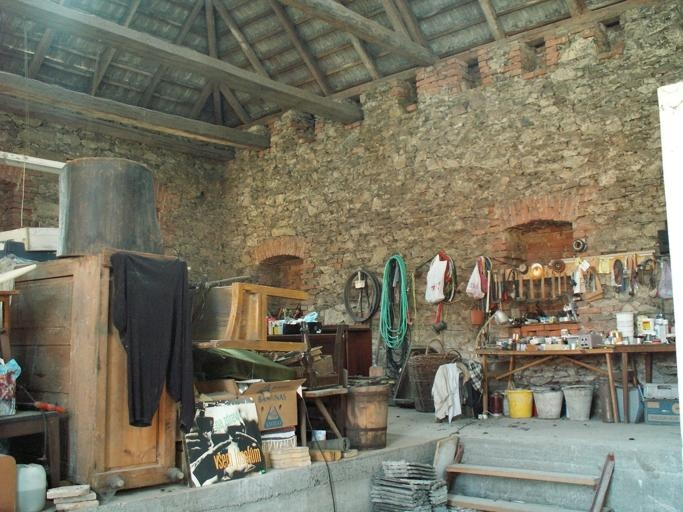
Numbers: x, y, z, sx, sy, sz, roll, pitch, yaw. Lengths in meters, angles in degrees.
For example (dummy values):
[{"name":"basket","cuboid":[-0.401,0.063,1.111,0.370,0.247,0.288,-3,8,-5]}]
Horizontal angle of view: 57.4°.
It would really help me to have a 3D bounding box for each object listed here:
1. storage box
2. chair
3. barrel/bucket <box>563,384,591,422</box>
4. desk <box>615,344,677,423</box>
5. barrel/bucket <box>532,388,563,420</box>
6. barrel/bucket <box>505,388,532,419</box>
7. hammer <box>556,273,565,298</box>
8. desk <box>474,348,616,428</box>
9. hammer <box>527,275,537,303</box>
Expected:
[{"name":"storage box","cuboid":[-0.727,1.208,5.225,0.629,0.274,0.541,4,-8,-45]},{"name":"chair","cuboid":[-0.848,0.519,5.263,0.725,0.330,0.733,-1,-3,41]},{"name":"barrel/bucket","cuboid":[2.625,1.625,6.936,0.363,0.338,0.370,1,-5,0]},{"name":"desk","cuboid":[3.279,1.356,6.778,0.616,0.845,0.479,-2,-8,25]},{"name":"barrel/bucket","cuboid":[2.343,1.661,7.093,0.355,0.257,0.345,0,-6,0]},{"name":"barrel/bucket","cuboid":[2.061,1.707,7.209,0.326,0.227,0.303,-1,-7,0]},{"name":"hammer","cuboid":[2.660,0.351,7.573,0.133,0.262,0.064,-6,-11,44]},{"name":"desk","cuboid":[2.398,1.447,7.381,1.559,0.705,0.495,-3,1,11]},{"name":"hammer","cuboid":[2.377,0.410,7.767,0.097,0.268,0.100,3,-8,-16]}]
